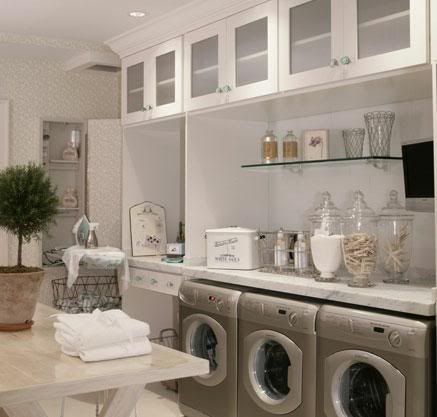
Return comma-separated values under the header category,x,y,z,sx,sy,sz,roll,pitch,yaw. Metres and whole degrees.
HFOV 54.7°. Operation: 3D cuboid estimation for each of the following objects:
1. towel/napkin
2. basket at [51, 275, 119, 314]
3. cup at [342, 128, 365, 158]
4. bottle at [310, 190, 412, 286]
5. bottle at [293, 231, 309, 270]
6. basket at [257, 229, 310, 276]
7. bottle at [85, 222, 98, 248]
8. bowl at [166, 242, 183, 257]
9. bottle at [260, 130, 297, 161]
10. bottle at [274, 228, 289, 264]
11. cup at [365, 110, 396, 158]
category,x,y,z,sx,sy,sz,roll,pitch,yaw
towel/napkin,-0.379,0.363,1.319,0.155,0.090,0.209,1,4,-33
basket,-1.238,0.803,3.937,0.534,0.200,0.536,-1,-3,43
cup,0.878,-0.418,2.747,0.125,0.183,0.133,-2,-3,0
bottle,0.844,0.188,2.460,0.463,0.458,0.173,-5,-10,37
bottle,0.550,0.282,2.825,0.092,0.179,0.191,-1,0,11
basket,0.501,0.272,2.970,0.381,0.310,0.229,2,22,23
bottle,-1.123,0.240,3.770,0.082,0.215,0.249,-1,0,-2
bowl,-0.366,0.349,3.550,0.133,0.105,0.102,1,-2,12
bottle,0.442,-0.457,3.090,0.262,0.257,0.113,-1,-2,33
bottle,0.444,0.277,2.896,0.113,0.181,0.148,0,0,40
cup,0.977,-0.441,2.518,0.168,0.290,0.208,-1,0,0
